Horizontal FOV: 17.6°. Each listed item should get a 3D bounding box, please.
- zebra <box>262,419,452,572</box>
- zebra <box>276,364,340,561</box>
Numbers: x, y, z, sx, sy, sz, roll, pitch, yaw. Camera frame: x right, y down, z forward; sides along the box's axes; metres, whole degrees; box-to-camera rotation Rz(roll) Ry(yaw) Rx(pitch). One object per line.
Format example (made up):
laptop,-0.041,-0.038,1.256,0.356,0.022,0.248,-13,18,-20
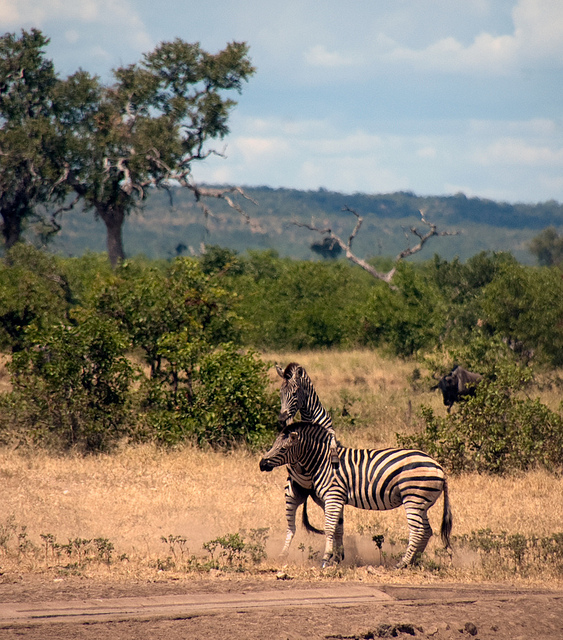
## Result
zebra,1.527,3.477,36.718,3.491,2.778,2.371,4,5,4
zebra,0.629,2.950,37.433,0.832,3.898,4.923,1,16,9
